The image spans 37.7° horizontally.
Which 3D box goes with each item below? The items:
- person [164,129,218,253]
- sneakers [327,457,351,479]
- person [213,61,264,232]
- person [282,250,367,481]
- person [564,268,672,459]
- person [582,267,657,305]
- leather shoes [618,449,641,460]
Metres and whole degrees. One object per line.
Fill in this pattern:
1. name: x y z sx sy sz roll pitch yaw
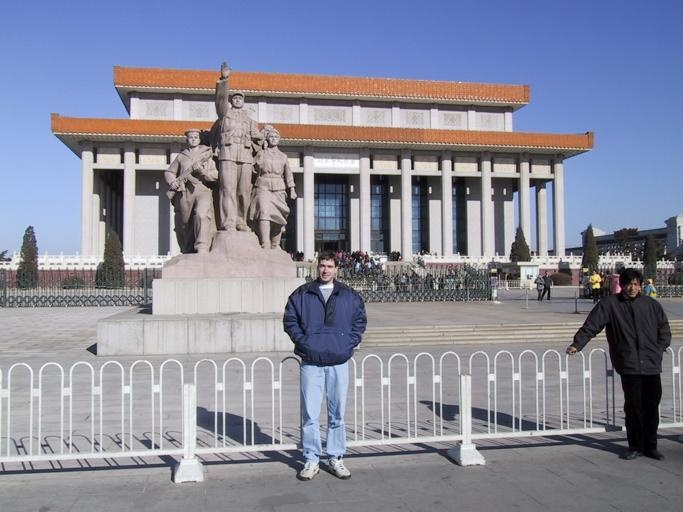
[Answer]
1. person: -3.116 -1.343 21.045 1.108 2.609 0.735 -1 -3 28
2. sneakers: -0.017 2.806 13.326 0.309 0.276 0.203 1 -3 1
3. person: -2.230 -2.184 20.815 0.862 3.344 1.486 0 -3 20
4. person: -0.223 1.458 13.418 1.081 3.016 0.285 1 -3 -3
5. person: 3.988 1.482 13.874 1.110 2.588 0.405 0 -3 16
6. person: 6.433 0.713 23.256 1.231 0.834 2.190 0 -5 2
7. leather shoes: 3.956 2.728 13.689 0.274 0.108 0.114 0 -7 -10
